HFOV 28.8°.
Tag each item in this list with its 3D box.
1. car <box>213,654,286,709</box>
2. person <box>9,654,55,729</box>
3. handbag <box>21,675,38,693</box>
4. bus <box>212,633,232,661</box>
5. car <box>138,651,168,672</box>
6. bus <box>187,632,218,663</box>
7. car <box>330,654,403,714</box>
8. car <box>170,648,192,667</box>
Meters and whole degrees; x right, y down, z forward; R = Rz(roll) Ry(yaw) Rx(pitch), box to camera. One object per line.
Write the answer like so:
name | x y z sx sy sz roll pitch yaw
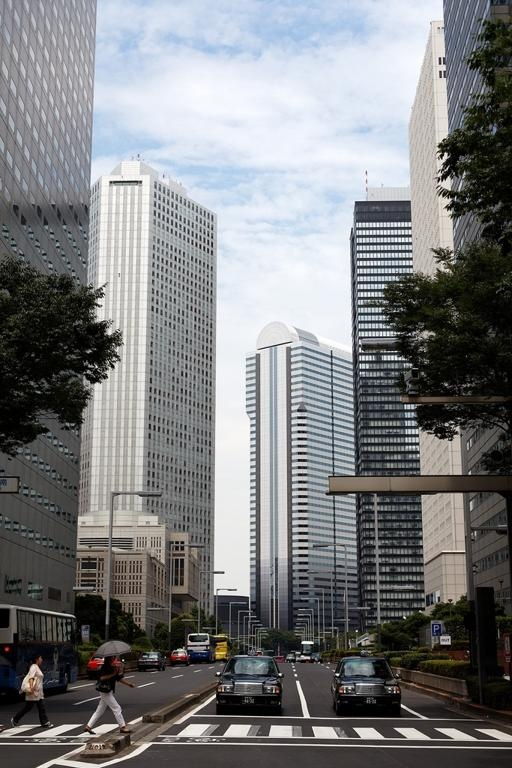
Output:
car | -0.094 7.193 23.911 0.906 0.835 2.072 -1 -25 2
person | -4.588 6.235 20.292 0.790 1.397 2.091 1 -13 -13
handbag | -4.512 5.924 19.689 0.198 0.369 0.406 9 -17 -42
bus | -3.077 24.287 91.984 1.446 1.672 3.624 -1 -8 3
car | -6.399 17.256 62.133 0.957 0.807 2.356 0 -5 5
bus | -4.668 22.887 85.531 1.367 1.770 3.924 -1 -26 2
car | 2.645 7.319 24.084 1.535 1.311 1.992 -3 -13 4
car | -6.005 21.717 78.985 0.996 0.954 2.417 0 -8 3
